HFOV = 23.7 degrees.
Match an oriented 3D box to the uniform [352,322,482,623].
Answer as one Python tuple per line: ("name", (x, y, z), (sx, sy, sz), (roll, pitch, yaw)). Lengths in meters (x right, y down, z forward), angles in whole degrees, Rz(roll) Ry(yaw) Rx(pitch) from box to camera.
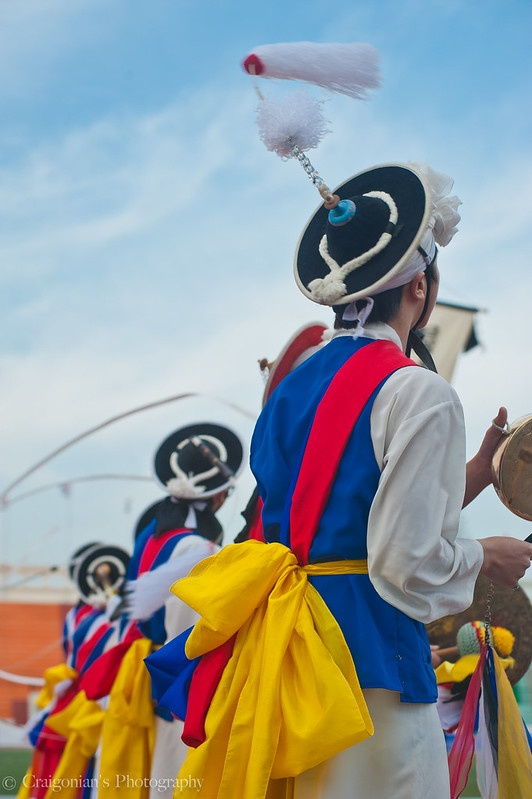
("uniform", (0.391, 0.244, 3.252), (0.344, 0.569, 0.153), (-11, -6, -10))
